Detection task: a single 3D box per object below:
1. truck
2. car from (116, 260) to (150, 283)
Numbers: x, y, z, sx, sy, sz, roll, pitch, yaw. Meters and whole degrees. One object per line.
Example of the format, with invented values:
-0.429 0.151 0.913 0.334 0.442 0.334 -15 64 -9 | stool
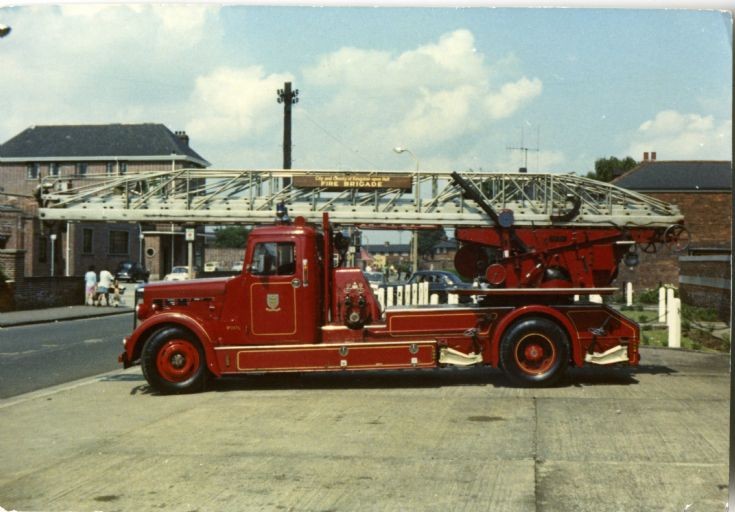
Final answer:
0.657 0.440 21.378 17.006 5.463 5.714 1 -1 4 | truck
-15.786 1.106 61.427 1.515 1.176 2.495 0 -4 7 | car
